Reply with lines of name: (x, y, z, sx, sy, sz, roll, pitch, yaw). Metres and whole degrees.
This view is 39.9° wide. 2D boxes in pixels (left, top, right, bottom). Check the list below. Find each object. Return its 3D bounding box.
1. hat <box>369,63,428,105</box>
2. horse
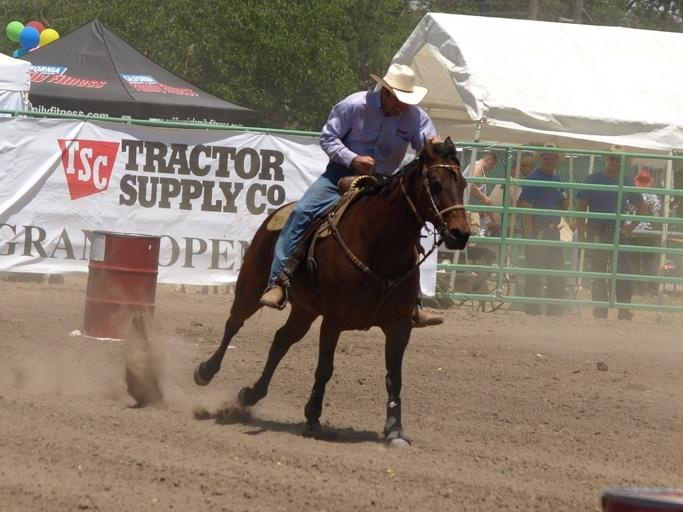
hat: (0.631, -1.826, 9.924, 0.478, 0.207, 0.508, 21, 15, -41)
horse: (-0.086, 0.419, 10.451, 1.117, 2.945, 4.472, 6, -3, -34)
